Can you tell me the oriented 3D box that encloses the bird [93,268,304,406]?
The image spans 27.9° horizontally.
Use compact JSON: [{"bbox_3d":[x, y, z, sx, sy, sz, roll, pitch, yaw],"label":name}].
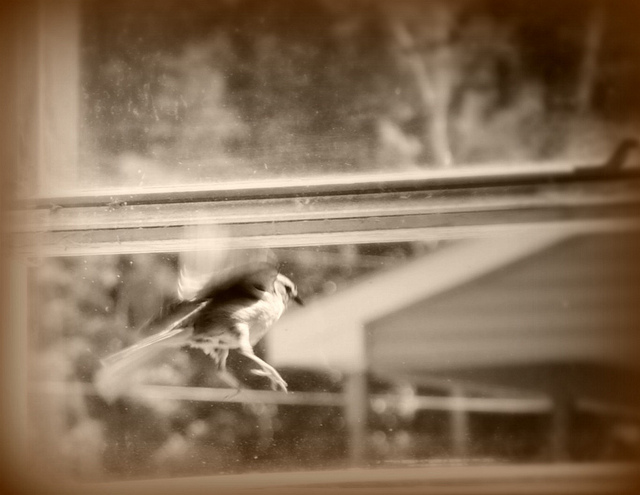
[{"bbox_3d":[-0.222,0.144,2.395,0.427,0.221,0.146,1,-18,-17],"label":"bird"}]
